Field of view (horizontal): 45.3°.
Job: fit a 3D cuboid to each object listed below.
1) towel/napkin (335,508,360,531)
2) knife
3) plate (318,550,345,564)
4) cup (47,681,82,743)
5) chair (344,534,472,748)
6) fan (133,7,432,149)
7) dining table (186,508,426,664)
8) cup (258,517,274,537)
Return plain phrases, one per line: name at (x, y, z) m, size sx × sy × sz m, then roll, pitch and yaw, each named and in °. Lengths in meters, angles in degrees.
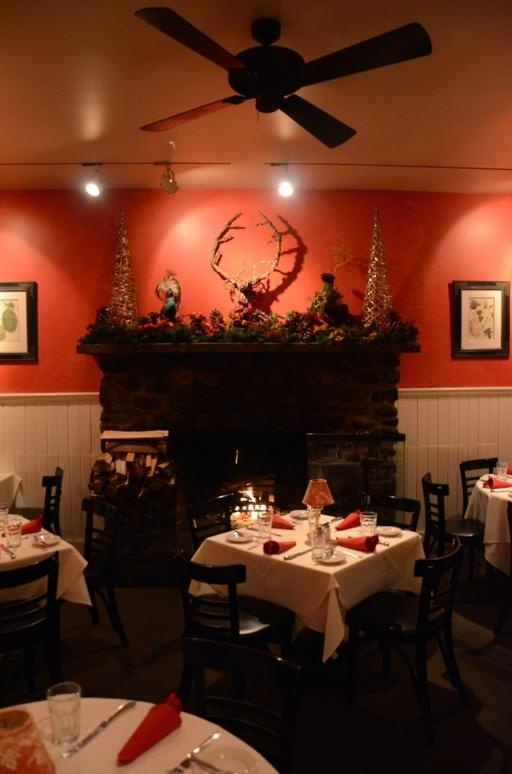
towel/napkin at (0.499, 0.724, 3.346) m, size 0.087 × 0.034 × 0.111 m, roll -5°, pitch 8°, yaw 44°
knife at (-0.391, 0.864, 1.628) m, size 0.042 × 0.035 × 0.324 m, roll 16°, pitch 9°, yaw 22°
plate at (0.370, 0.787, 2.822) m, size 0.107 × 0.026 × 0.176 m, roll 1°, pitch 3°, yaw 34°
cup at (-0.474, 0.786, 1.517) m, size 0.079 × 0.180 × 0.171 m, roll -2°, pitch 2°, yaw -18°
chair at (0.729, 1.088, 2.943) m, size 0.546 × 0.755 × 0.875 m, roll 0°, pitch 2°, yaw 16°
fan at (0.110, -1.283, 2.551) m, size 0.822 × 0.199 × 0.790 m, roll 3°, pitch -5°, yaw -31°
dining table at (0.392, 0.907, 2.992) m, size 0.863 × 0.318 × 0.837 m, roll 7°, pitch -9°, yaw -44°
cup at (0.049, 0.722, 3.163) m, size 0.091 × 0.099 × 0.091 m, roll 0°, pitch -4°, yaw 0°
